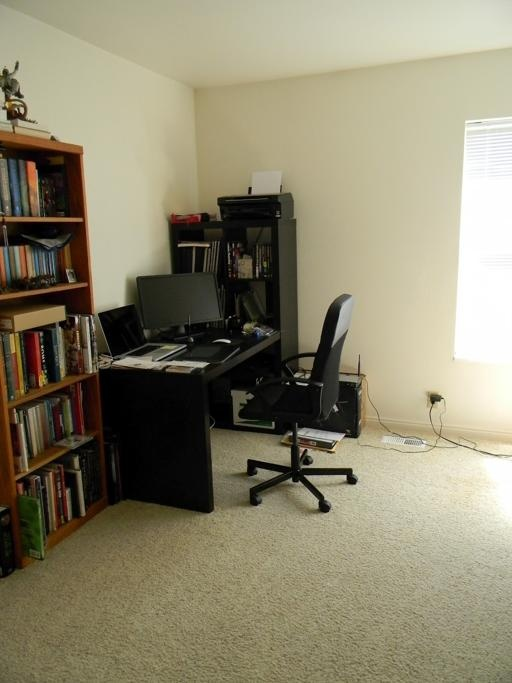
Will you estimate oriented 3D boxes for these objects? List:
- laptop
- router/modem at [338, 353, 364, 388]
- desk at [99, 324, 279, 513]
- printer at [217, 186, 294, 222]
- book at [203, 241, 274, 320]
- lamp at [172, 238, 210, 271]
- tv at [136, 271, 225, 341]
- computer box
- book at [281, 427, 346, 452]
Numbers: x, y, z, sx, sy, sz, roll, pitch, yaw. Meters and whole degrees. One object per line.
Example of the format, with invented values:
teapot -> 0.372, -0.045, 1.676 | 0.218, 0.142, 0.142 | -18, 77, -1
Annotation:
laptop -> -0.658, -0.067, 3.155 | 0.345, 0.270, 0.440 | -2, 10, 12
router/modem -> 0.673, 0.229, 3.780 | 0.187, 0.249, 0.245 | 3, 11, 21
desk -> -0.319, 0.389, 3.295 | 0.618, 0.701, 1.214 | 1, 10, 21
printer -> -0.007, -0.895, 3.605 | 0.488, 0.184, 0.229 | -2, 10, -5
book -> -0.138, -0.426, 3.758 | 0.447, 0.893, 0.282 | -7, 12, -35
lamp -> -0.465, -0.615, 3.849 | 0.238, 0.233, 0.176 | 1, 10, 1
tv -> -0.488, -0.243, 3.532 | 0.566, 0.391, 0.148 | -9, 2, -34
computer box -> 0.505, 0.474, 3.774 | 0.351, 0.334, 0.267 | 8, -18, 0
book -> 0.383, 0.638, 3.508 | 0.224, 0.046, 0.228 | 4, 11, 21
